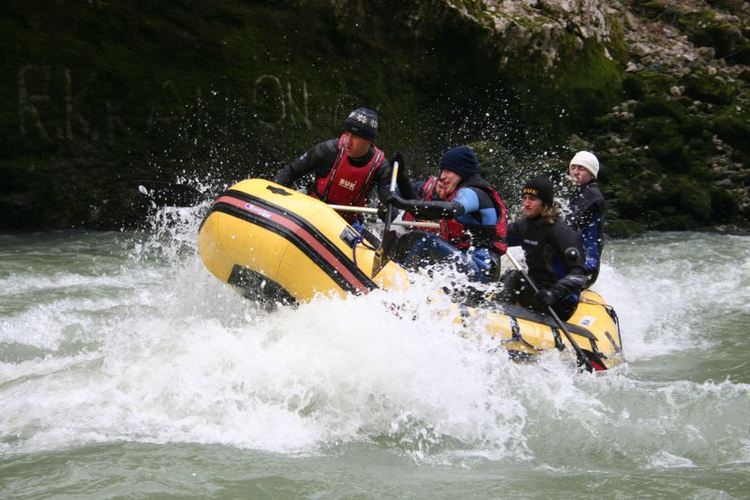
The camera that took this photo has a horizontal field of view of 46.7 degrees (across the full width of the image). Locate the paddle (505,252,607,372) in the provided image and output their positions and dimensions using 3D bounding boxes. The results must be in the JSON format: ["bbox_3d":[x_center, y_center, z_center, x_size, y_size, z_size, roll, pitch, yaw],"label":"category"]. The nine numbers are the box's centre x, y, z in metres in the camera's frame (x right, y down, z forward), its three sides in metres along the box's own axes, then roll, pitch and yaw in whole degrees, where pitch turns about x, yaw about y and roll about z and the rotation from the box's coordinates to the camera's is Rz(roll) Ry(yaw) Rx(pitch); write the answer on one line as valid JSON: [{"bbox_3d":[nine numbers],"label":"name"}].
[{"bbox_3d":[2.161,0.788,10.515,0.180,0.256,1.619,6,48,-52],"label":"paddle"}]

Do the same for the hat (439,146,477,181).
[{"bbox_3d":[1.039,-1.075,10.685,0.554,0.416,0.503,-4,6,-30],"label":"hat"}]

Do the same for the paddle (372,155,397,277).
[{"bbox_3d":[0.170,-0.416,10.129,0.055,1.267,0.263,7,5,-27],"label":"paddle"}]

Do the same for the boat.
[{"bbox_3d":[0.478,0.045,10.360,4.451,1.094,2.322,25,-3,-14],"label":"boat"}]

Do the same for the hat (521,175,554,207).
[{"bbox_3d":[2.021,-0.723,10.710,0.359,0.290,0.351,20,11,-13],"label":"hat"}]
